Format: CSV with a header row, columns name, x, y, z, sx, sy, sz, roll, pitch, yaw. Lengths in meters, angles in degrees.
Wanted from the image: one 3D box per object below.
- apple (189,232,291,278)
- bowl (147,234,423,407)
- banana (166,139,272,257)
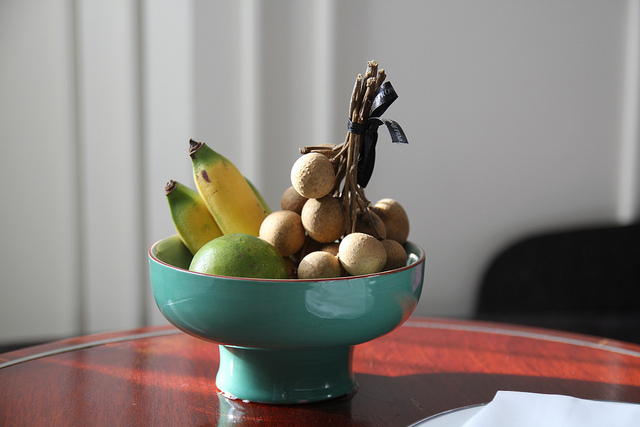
name,x,y,z,sx,sy,sz,roll,pitch,yaw
apple,-0.126,0.066,0.842,0.099,0.070,0.078,15,16,-1
bowl,-0.064,0.190,1.041,0.448,0.273,0.493,3,5,15
banana,-0.194,-0.015,1.014,0.137,0.234,0.100,-37,26,-24
